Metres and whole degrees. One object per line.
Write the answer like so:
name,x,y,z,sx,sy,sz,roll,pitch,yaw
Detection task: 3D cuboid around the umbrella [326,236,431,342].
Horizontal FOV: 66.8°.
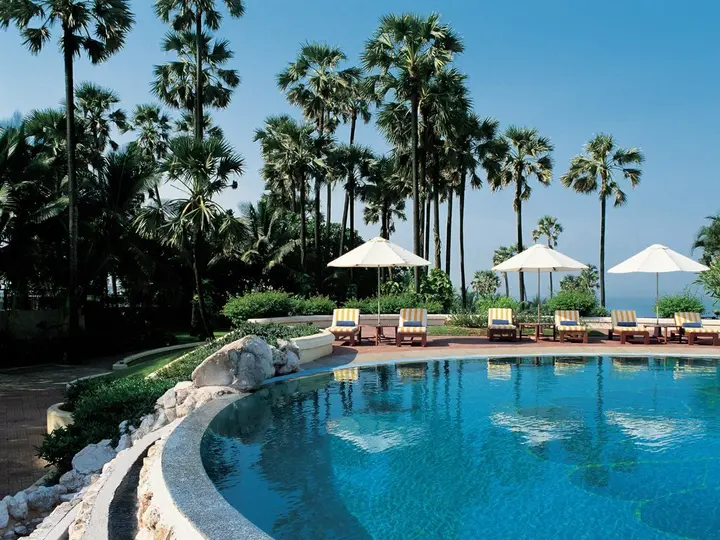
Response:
umbrella,0.778,-0.030,19.084,2.161,1.872,2.419,8,9,32

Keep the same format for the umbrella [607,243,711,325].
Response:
umbrella,10.409,0.034,19.046,1.877,1.709,2.022,8,-11,7
